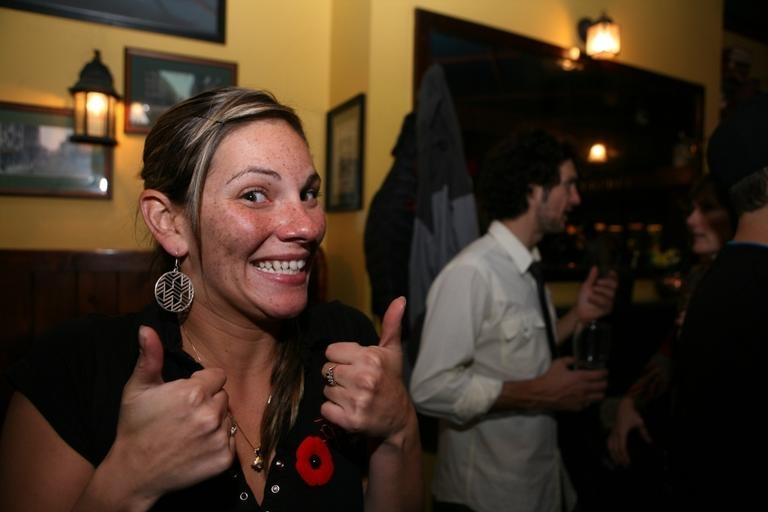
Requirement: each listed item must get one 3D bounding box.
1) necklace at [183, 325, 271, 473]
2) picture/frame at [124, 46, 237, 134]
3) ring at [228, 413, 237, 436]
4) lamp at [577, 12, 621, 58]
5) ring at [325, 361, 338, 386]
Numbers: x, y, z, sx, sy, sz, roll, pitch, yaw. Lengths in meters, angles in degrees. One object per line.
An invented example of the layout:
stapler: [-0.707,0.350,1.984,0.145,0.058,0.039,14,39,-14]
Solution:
necklace: [-0.421,0.405,1.821,0.055,0.438,0.162,-17,19,25]
picture/frame: [-0.645,-0.498,2.104,0.349,0.241,0.010,4,12,-5]
ring: [-0.395,0.442,1.746,0.019,0.055,0.057,-1,-11,-31]
lamp: [0.722,-0.720,2.210,0.137,0.151,0.054,7,7,5]
ring: [-0.143,0.325,1.792,0.023,0.052,0.040,-2,-16,-6]
